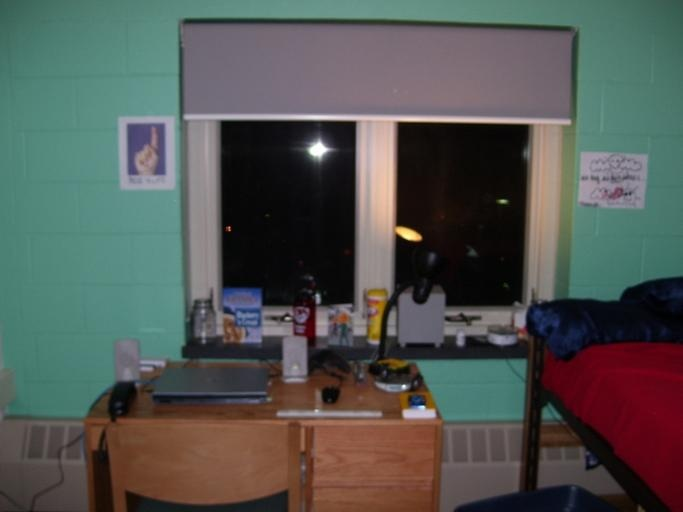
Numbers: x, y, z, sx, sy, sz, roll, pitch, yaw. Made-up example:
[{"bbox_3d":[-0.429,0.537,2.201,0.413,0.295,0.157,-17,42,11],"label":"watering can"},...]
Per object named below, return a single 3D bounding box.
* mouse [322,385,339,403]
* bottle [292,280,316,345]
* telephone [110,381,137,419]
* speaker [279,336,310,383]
[{"bbox_3d":[-0.055,0.646,3.033,0.059,0.032,0.072,4,23,-5],"label":"mouse"},{"bbox_3d":[-0.210,0.295,3.564,0.122,0.364,0.253,0,3,-3],"label":"bottle"},{"bbox_3d":[-1.017,0.656,2.941,0.081,0.072,0.279,3,13,-11],"label":"telephone"},{"bbox_3d":[-0.240,0.518,3.200,0.189,0.318,0.189,1,-2,-3],"label":"speaker"}]
